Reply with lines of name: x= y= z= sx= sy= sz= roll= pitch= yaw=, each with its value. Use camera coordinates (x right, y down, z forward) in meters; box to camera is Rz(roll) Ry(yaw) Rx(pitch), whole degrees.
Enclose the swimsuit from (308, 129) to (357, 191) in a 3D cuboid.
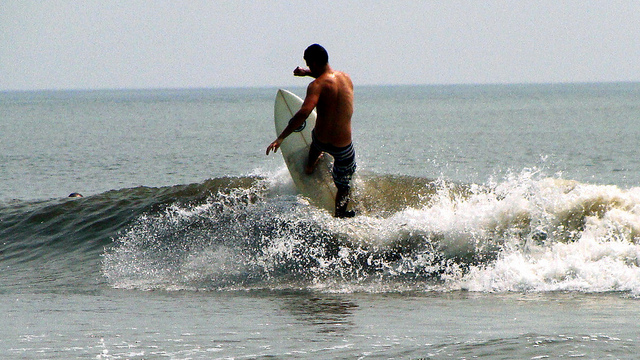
swimsuit: x=0.723 y=-0.589 z=35.073 sx=1.218 sy=2.455 sz=2.836 roll=1 pitch=0 yaw=31
